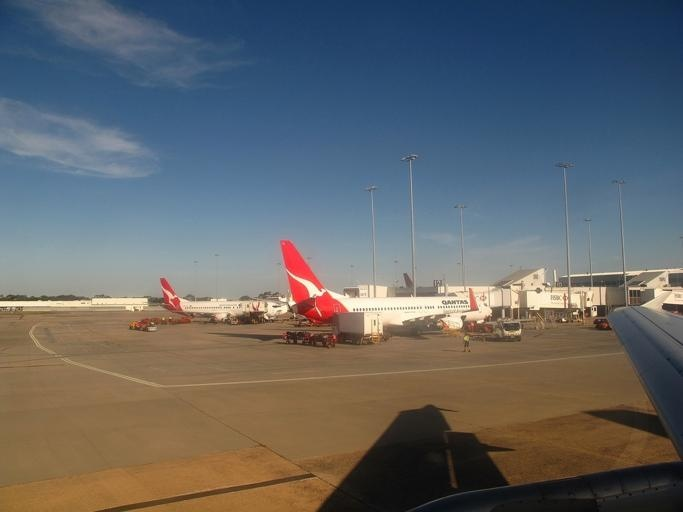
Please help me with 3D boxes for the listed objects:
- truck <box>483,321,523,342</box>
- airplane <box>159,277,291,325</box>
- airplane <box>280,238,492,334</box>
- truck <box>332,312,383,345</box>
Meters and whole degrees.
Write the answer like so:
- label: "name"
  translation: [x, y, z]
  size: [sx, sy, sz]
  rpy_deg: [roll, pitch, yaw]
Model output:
- label: "truck"
  translation: [15.895, 7.256, 52.606]
  size: [2.528, 1.811, 3.884]
  rpy_deg: [2, -8, -9]
- label: "airplane"
  translation: [-19.941, 7.503, 91.860]
  size: [24.843, 6.607, 4.346]
  rpy_deg: [-1, -2, 28]
- label: "airplane"
  translation: [5.386, 5.042, 52.980]
  size: [22.041, 8.376, 19.179]
  rpy_deg: [-2, 6, -20]
- label: "truck"
  translation: [1.353, 6.416, 48.434]
  size: [2.443, 2.461, 4.548]
  rpy_deg: [8, -9, -36]
